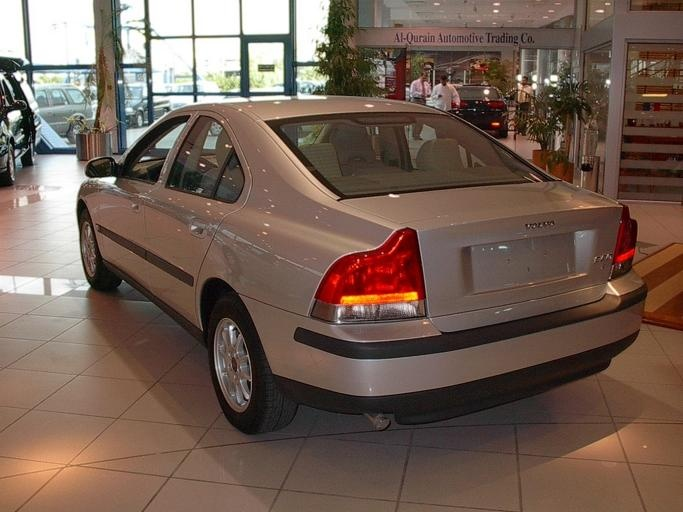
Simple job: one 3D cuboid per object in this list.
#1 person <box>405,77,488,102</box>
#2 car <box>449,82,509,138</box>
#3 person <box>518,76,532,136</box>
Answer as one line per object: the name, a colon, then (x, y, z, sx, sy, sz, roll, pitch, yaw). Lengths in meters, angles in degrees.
person: (2.556, -4.571, 12.525, 1.301, 0.627, 0.846, -1, 15, 1)
car: (3.772, -3.950, 12.262, 0.855, 0.798, 2.141, -1, 19, 2)
person: (4.367, -3.618, 10.909, 0.257, 1.172, 0.264, -14, 21, -26)
